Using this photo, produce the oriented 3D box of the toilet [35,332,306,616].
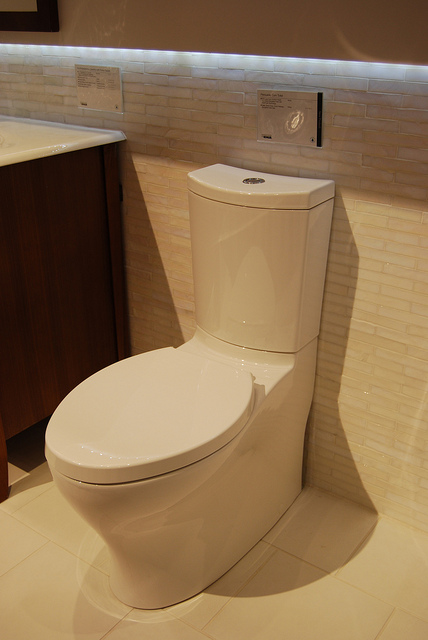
[{"bbox_3d":[-0.090,0.309,1.025,0.333,0.427,0.569,15,20,25],"label":"toilet"}]
